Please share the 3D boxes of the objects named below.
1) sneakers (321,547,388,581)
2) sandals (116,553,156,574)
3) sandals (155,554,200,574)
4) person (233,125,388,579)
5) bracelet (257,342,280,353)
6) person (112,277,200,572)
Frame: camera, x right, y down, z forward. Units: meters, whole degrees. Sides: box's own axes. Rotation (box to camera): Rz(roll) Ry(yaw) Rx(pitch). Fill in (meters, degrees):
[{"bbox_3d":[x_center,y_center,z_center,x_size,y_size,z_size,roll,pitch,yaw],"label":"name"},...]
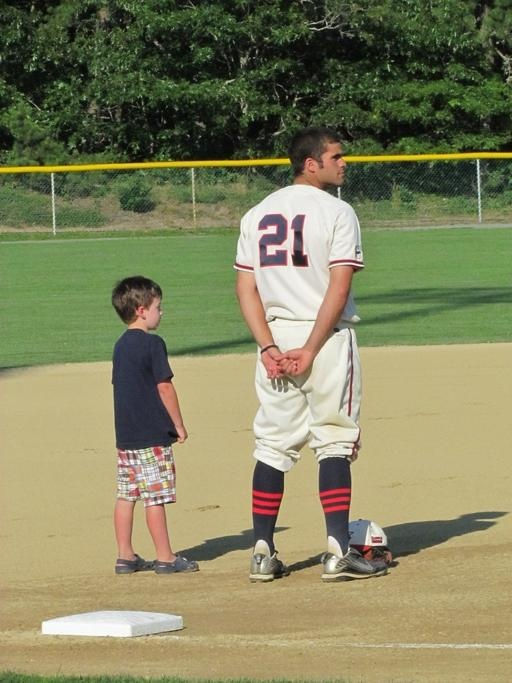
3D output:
[{"bbox_3d":[0.375,0.887,5.451,0.288,0.122,0.099,-4,4,-34],"label":"sneakers"},{"bbox_3d":[-0.503,0.948,5.884,0.174,0.068,0.067,-3,4,-40],"label":"sandals"},{"bbox_3d":[-0.328,0.941,5.807,0.174,0.068,0.071,-1,2,-6],"label":"sandals"},{"bbox_3d":[0.217,0.047,5.493,0.567,1.797,0.564,-2,9,-1],"label":"person"},{"bbox_3d":[0.055,0.025,5.430,0.065,0.043,0.079,-2,9,-6],"label":"bracelet"},{"bbox_3d":[-0.437,0.353,5.784,0.351,1.256,0.303,-3,9,-6],"label":"person"}]
